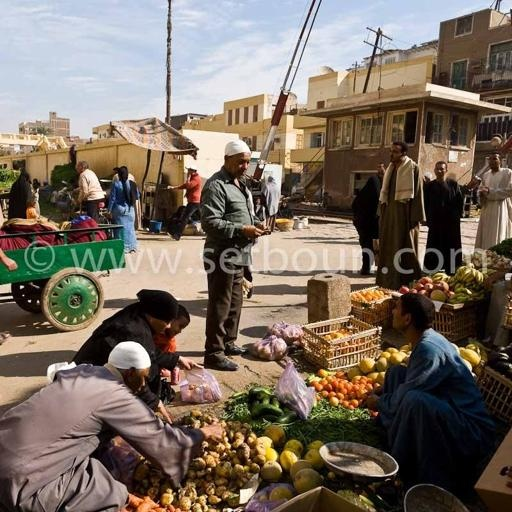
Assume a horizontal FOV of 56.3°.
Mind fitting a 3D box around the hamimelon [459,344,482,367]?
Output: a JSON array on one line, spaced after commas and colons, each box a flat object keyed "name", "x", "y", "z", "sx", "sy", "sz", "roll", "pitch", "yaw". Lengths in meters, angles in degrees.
[{"name": "hamimelon", "x": 1.914, "y": 0.889, "z": 4.276, "sx": 0.149, "sy": 0.197, "sz": 0.107, "roll": -31, "pitch": 28, "yaw": 36}]

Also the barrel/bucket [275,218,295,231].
[{"name": "barrel/bucket", "x": 0.944, "y": -1.042, "z": 15.838, "sx": 0.468, "sy": 0.258, "sz": 0.461, "roll": -1, "pitch": 3, "yaw": 0}]

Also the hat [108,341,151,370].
[{"name": "hat", "x": -0.681, "y": 0.529, "z": 2.612, "sx": 0.171, "sy": 0.102, "sz": 0.163, "roll": 11, "pitch": -1, "yaw": 16}]

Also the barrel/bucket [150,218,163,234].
[{"name": "barrel/bucket", "x": -3.011, "y": -0.909, "z": 14.403, "sx": 0.411, "sy": 0.283, "sz": 0.393, "roll": 7, "pitch": 10, "yaw": -1}]

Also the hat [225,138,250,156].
[{"name": "hat", "x": -0.157, "y": -0.975, "z": 4.329, "sx": 0.181, "sy": 0.106, "sz": 0.174, "roll": -4, "pitch": 18, "yaw": -26}]
